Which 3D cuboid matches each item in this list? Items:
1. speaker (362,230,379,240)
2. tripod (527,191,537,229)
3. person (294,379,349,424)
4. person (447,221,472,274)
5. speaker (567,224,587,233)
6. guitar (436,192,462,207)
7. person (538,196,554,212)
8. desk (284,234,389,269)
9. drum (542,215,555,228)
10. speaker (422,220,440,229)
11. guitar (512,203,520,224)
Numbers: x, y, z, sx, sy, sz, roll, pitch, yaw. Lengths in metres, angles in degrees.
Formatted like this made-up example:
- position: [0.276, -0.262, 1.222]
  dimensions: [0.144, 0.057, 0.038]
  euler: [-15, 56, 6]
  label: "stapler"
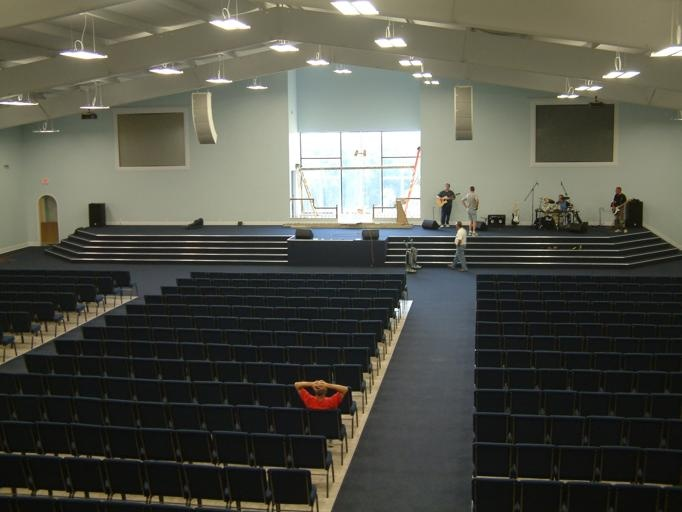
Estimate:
- position: [1.015, -0.724, 19.475]
  dimensions: [0.524, 0.311, 0.334]
  euler: [2, 5, 18]
  label: "speaker"
- position: [7.785, -2.038, 23.658]
  dimensions: [0.207, 1.290, 0.174]
  euler: [3, 5, 25]
  label: "tripod"
- position: [-0.290, 1.952, 8.397]
  dimensions: [0.538, 0.830, 0.627]
  euler: [2, 16, 6]
  label: "person"
- position: [3.873, -0.337, 18.929]
  dimensions: [0.542, 1.574, 2.517]
  euler: [1, 5, 11]
  label: "person"
- position: [8.526, -1.030, 21.098]
  dimensions: [0.609, 0.342, 0.278]
  euler: [3, 5, 24]
  label: "speaker"
- position: [4.368, -2.283, 23.467]
  dimensions: [0.904, 0.575, 1.472]
  euler: [2, 5, 13]
  label: "guitar"
- position: [8.181, -1.921, 23.075]
  dimensions: [0.674, 0.183, 0.717]
  euler: [18, -14, 38]
  label: "person"
- position: [-0.158, -0.117, 19.633]
  dimensions: [3.271, 0.916, 0.273]
  euler: [1, 5, 11]
  label: "desk"
- position: [7.883, -1.322, 22.191]
  dimensions: [0.561, 0.579, 0.383]
  euler: [2, 5, 20]
  label: "drum"
- position: [3.554, -1.239, 22.979]
  dimensions: [0.378, 0.339, 0.823]
  euler: [-2, 5, -27]
  label: "speaker"
- position: [7.082, -1.714, 23.576]
  dimensions: [0.295, 0.856, 0.496]
  euler: [2, 5, 16]
  label: "guitar"
